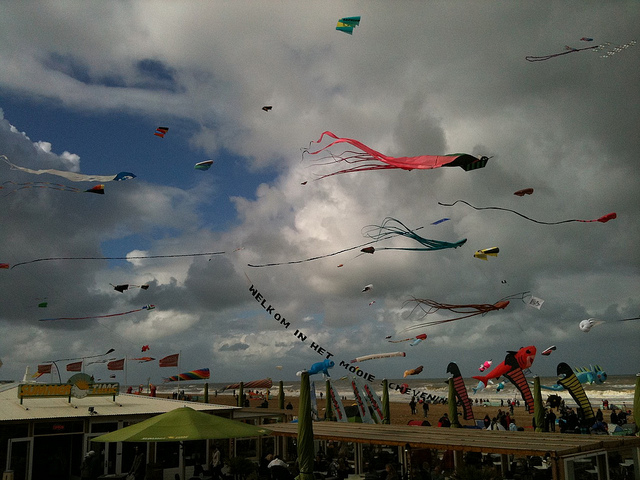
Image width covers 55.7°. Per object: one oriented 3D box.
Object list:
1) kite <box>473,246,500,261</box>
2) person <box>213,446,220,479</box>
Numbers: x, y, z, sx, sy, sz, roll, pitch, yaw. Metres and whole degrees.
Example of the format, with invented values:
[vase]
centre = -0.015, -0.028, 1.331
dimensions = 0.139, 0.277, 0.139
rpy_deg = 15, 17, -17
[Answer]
[kite]
centre = 7.021, 0.545, 25.159
dimensions = 0.900, 0.267, 0.711
rpy_deg = -21, -49, 4
[person]
centre = -5.463, 11.889, 32.124
dimensions = 0.342, 1.373, 1.279
rpy_deg = -1, -21, -10
